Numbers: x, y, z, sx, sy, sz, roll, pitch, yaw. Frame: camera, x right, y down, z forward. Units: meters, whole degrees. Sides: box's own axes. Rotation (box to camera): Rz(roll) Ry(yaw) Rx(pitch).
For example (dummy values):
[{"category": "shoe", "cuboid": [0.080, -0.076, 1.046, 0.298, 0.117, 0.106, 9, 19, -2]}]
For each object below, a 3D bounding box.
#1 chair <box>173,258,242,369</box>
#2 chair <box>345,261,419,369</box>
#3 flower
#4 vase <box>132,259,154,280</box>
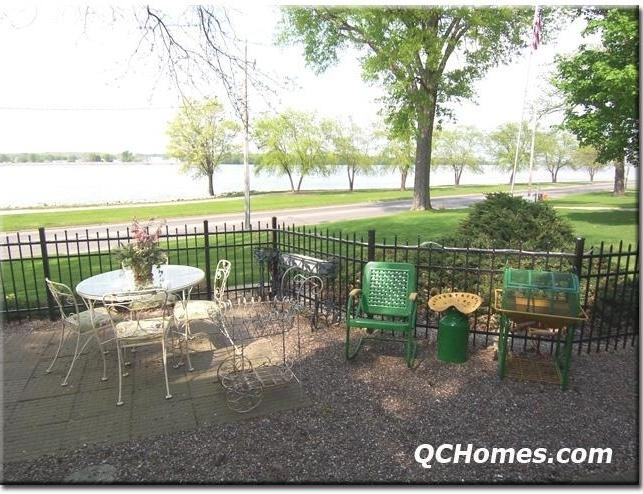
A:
[{"category": "chair", "cuboid": [-2.144, 0.982, 8.418, 0.894, 1.399, 0.945, -1, 7, -15]}, {"category": "chair", "cuboid": [1.146, 1.183, 8.062, 1.499, 2.167, 1.554, 2, 12, 16]}, {"category": "flower", "cuboid": [-3.144, 0.223, 7.823, 0.656, 0.994, 0.663, 9, -21, -28]}, {"category": "vase", "cuboid": [-3.025, 0.392, 7.711, 0.289, 0.321, 0.295, 4, 4, 37]}]
